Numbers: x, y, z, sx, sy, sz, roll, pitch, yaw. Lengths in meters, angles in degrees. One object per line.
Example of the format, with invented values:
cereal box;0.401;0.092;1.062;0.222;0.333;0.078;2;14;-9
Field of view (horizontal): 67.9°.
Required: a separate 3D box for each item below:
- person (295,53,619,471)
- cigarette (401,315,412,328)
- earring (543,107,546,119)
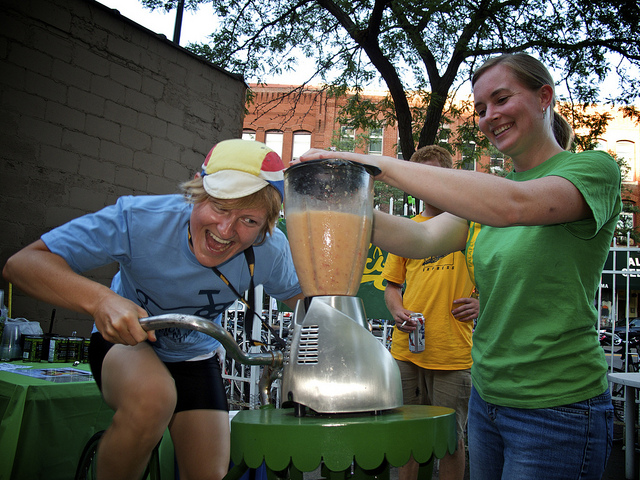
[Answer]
person;0.775;0.091;2.105;0.977;1.952;0.715;2;-10;-4
cigarette;0.671;0.634;3.682;0.017;0.121;0.011;34;18;-12
earring;1.022;-0.584;2.167;0.009;0.036;0.036;-4;-12;31
